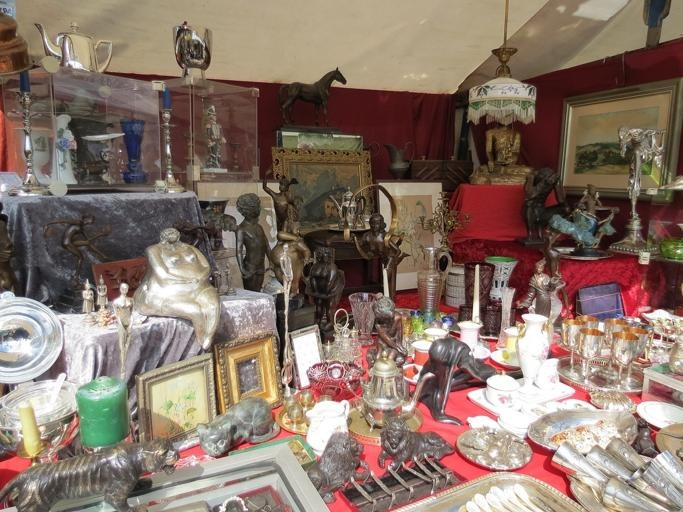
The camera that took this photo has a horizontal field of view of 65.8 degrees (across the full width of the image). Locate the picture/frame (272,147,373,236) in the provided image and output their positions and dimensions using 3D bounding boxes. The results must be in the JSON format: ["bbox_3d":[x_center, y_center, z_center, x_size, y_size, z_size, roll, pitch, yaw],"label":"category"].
[{"bbox_3d":[-0.203,-0.571,4.789,0.950,0.684,0.045,-2,1,-35],"label":"picture/frame"}]

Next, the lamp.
[{"bbox_3d":[1.576,-1.841,5.109,0.598,1.116,1.069,2,7,19],"label":"lamp"}]

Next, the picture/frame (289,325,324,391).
[{"bbox_3d":[-0.213,0.619,3.145,0.029,0.388,0.340,-12,-11,30],"label":"picture/frame"}]

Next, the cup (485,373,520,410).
[{"bbox_3d":[0.912,0.744,2.967,0.168,0.182,0.172,-1,7,0],"label":"cup"}]

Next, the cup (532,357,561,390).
[{"bbox_3d":[1.211,0.694,3.171,0.180,0.174,0.125,3,3,-18],"label":"cup"}]

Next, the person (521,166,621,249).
[{"bbox_3d":[1.932,-0.423,4.543,0.689,0.667,0.755,4,8,38],"label":"person"}]

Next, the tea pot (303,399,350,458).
[{"bbox_3d":[-0.042,0.857,2.641,0.244,0.187,0.187,9,-15,-42],"label":"tea pot"}]

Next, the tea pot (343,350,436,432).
[{"bbox_3d":[0.262,0.743,2.851,0.417,0.377,0.210,-2,2,-11],"label":"tea pot"}]

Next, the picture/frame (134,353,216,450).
[{"bbox_3d":[-0.830,0.740,2.625,0.451,0.453,0.034,-4,-4,-43],"label":"picture/frame"}]

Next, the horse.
[{"bbox_3d":[-0.321,-1.550,5.193,0.646,0.526,0.540,-3,6,-18],"label":"horse"}]

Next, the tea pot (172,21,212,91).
[{"bbox_3d":[-1.065,-1.405,3.720,0.268,0.425,0.239,0,6,3],"label":"tea pot"}]

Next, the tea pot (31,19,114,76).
[{"bbox_3d":[-1.695,-1.306,3.376,0.247,0.327,0.451,6,13,44],"label":"tea pot"}]

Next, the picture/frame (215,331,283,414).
[{"bbox_3d":[-0.522,0.649,2.889,0.053,0.478,0.470,-13,-8,40],"label":"picture/frame"}]

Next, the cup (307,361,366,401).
[{"bbox_3d":[-0.041,0.708,3.031,0.236,0.135,0.246,0,-4,0],"label":"cup"}]
